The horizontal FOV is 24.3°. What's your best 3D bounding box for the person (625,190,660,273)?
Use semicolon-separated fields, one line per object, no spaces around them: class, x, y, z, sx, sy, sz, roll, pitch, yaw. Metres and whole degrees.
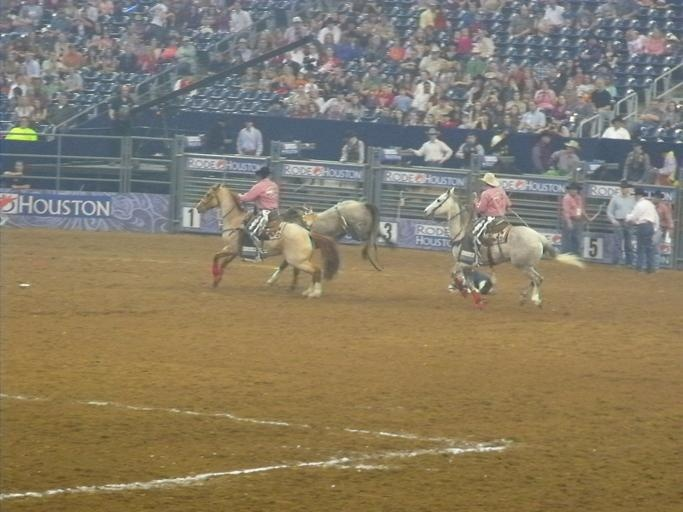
person;7.313;-0.665;38.815;0.741;2.067;0.867;1;2;9

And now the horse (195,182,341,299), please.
horse;-1.496;-0.369;33.801;3.166;2.384;1.521;1;2;8

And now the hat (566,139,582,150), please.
hat;5.951;-2.928;41.138;0.321;0.085;0.305;10;-4;23

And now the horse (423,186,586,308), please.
horse;3.412;-0.223;33.610;2.566;2.463;1.772;0;2;-12
